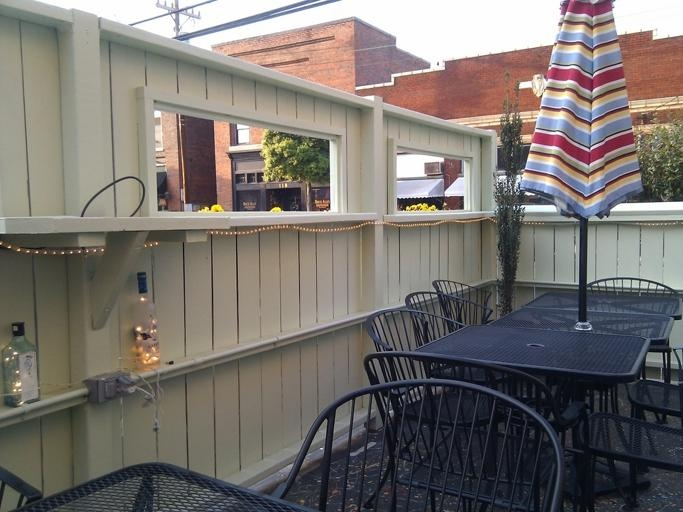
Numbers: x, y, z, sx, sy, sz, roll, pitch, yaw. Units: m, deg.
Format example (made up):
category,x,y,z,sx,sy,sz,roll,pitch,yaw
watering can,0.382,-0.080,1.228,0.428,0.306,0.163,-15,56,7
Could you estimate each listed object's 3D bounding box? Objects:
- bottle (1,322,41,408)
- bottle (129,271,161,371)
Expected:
category,x,y,z,sx,sy,sz,roll,pitch,yaw
bottle,-1.470,0.484,2.954,0.150,0.380,0.097,-6,7,-28
bottle,-1.031,0.355,3.379,0.129,0.459,0.076,-5,6,-22
